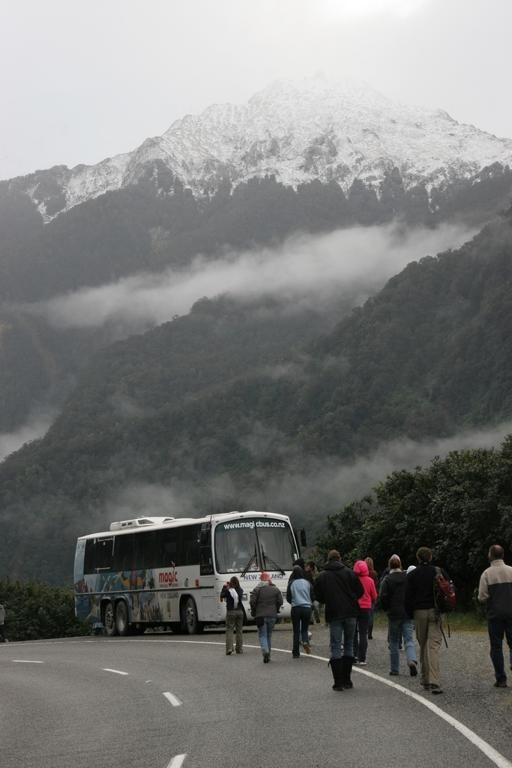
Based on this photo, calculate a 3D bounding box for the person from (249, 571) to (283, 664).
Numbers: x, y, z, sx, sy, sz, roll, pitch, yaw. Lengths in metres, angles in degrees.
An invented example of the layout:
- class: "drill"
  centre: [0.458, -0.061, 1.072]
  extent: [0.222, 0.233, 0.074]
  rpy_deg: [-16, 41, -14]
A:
- class: "person"
  centre: [0.204, 4.948, 16.209]
  extent: [0.644, 1.827, 1.597]
  rpy_deg: [-2, -13, 0]

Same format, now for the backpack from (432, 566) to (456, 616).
- class: "backpack"
  centre: [2.592, 2.846, 10.481]
  extent: [0.248, 0.634, 0.363]
  rpy_deg: [-5, -12, 17]

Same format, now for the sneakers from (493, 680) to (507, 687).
- class: "sneakers"
  centre: [3.369, 4.125, 10.455]
  extent: [0.070, 0.132, 0.260]
  rpy_deg: [-1, -17, -2]

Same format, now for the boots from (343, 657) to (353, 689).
- class: "boots"
  centre: [1.294, 4.092, 10.759]
  extent: [0.128, 0.426, 0.289]
  rpy_deg: [-3, -12, 6]
